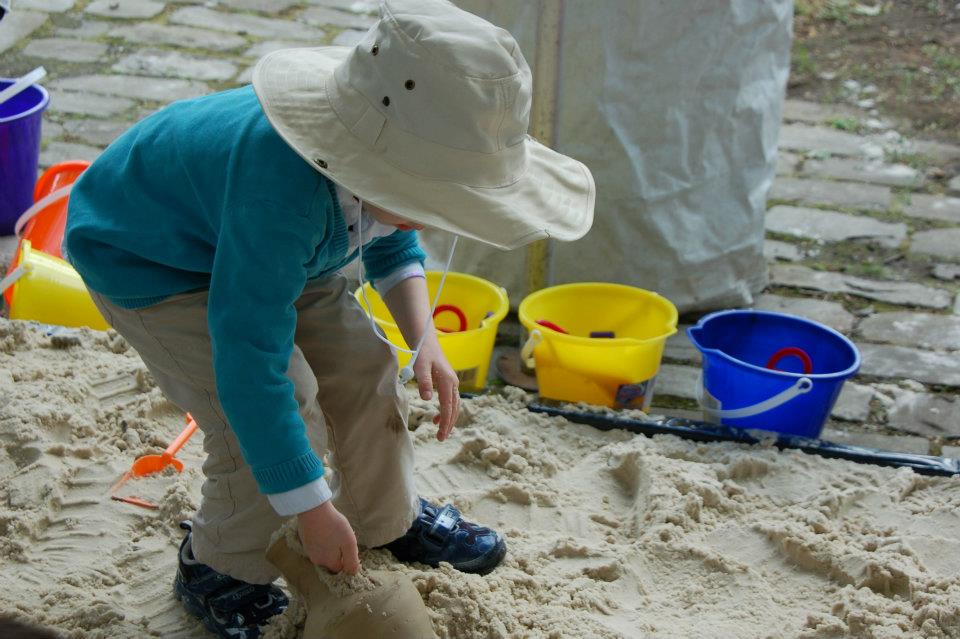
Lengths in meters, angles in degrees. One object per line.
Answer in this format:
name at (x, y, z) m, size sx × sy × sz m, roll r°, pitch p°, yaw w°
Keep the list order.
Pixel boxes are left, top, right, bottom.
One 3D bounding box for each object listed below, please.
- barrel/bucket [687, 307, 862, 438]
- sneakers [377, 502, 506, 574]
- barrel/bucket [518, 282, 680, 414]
barrel/bucket at (1.170, 0.308, 6.057) m, size 0.543 × 0.392 × 0.551 m, roll 0°, pitch 32°, yaw 0°
sneakers at (-0.101, 0.794, 5.517) m, size 0.519 × 0.234 × 0.190 m, roll 9°, pitch 46°, yaw -1°
barrel/bucket at (0.474, 0.082, 6.124) m, size 0.559 × 0.334 × 0.520 m, roll 2°, pitch 28°, yaw -1°
